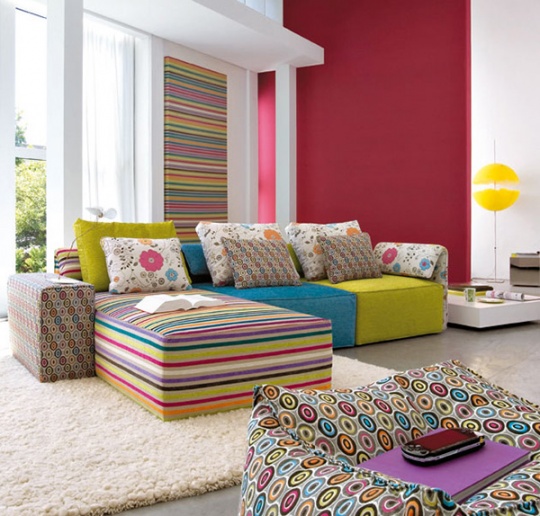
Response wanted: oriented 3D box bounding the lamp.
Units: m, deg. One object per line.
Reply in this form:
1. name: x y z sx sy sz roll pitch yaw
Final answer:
1. lamp: 3.530 -0.612 7.422 0.679 1.923 0.942 2 3 23

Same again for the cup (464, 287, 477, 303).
1. cup: 1.881 0.371 4.555 0.127 0.150 0.119 -1 0 0

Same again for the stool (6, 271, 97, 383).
1. stool: -1.360 0.353 3.094 0.545 0.689 0.993 -3 6 -33

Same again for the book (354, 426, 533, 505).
1. book: 0.348 0.369 0.859 0.199 0.018 0.139 -3 4 -41

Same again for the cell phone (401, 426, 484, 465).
1. cell phone: 0.322 0.335 0.892 0.134 0.025 0.060 -8 10 -35

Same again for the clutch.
1. clutch: 0.325 0.338 0.892 0.134 0.024 0.060 -8 10 -35

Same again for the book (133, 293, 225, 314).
1. book: -0.508 0.253 2.720 0.487 0.065 0.283 -1 3 -28
